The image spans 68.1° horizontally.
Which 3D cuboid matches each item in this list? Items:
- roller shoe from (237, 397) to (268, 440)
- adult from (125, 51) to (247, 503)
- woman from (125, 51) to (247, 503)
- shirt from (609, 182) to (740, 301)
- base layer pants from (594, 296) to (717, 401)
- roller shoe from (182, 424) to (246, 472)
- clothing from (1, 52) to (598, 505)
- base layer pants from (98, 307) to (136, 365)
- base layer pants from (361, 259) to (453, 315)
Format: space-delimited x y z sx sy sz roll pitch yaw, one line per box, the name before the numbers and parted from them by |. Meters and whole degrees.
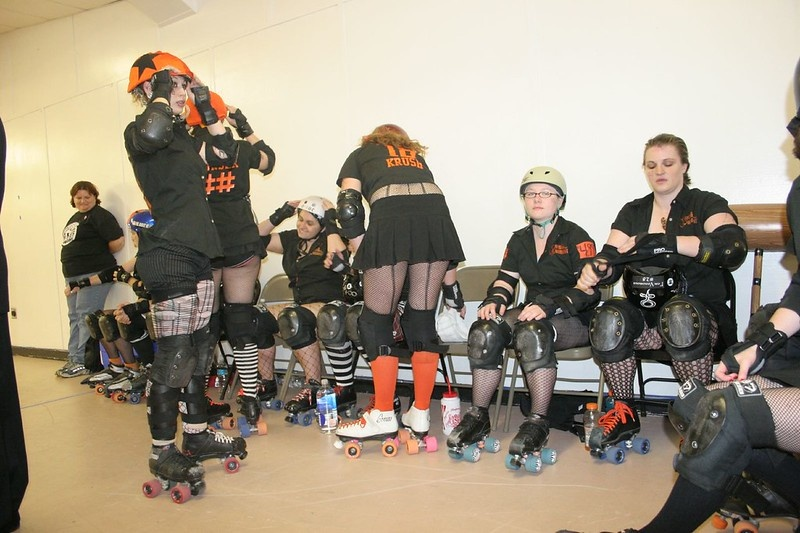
roller shoe | -1.299 1.313 5.198 0.259 0.326 0.478 2 -4 -13
adult | -1.604 0.033 4.225 0.645 3.058 0.871 -7 13 -17
woman | -1.604 0.033 4.225 0.645 3.058 0.871 -7 13 -17
shirt | 2.289 -0.245 4.826 0.734 1.006 0.627 2 7 36
base layer pants | 1.874 0.655 4.614 0.902 1.012 0.786 -8 -5 29
roller shoe | -1.419 1.346 4.524 0.459 0.324 0.272 -1 3 -19
clothing | -0.793 -0.106 6.556 4.268 5.100 2.775 -2 3 -6
base layer pants | -3.157 0.849 6.609 0.398 0.667 0.246 7 31 40
base layer pants | 0.032 0.150 4.587 0.704 0.535 0.388 1 -4 -16
